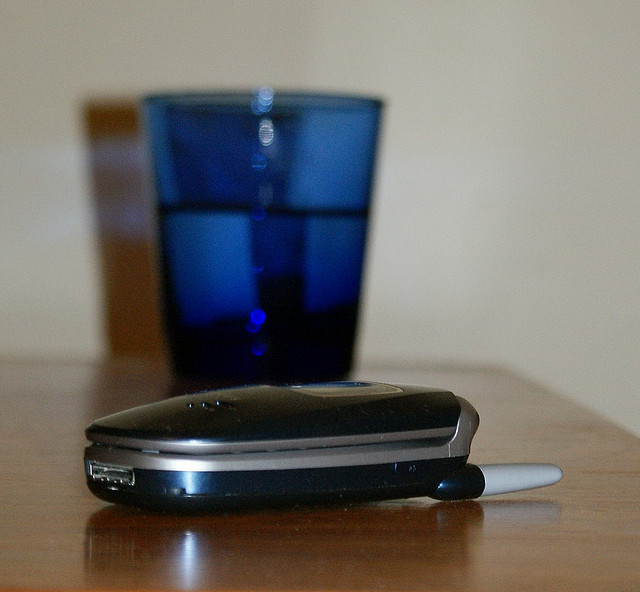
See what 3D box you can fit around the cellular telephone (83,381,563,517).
[{"bbox_3d":[0.007,0.062,0.412,0.195,0.033,0.079,0,-2,-21],"label":"cellular telephone"}]
